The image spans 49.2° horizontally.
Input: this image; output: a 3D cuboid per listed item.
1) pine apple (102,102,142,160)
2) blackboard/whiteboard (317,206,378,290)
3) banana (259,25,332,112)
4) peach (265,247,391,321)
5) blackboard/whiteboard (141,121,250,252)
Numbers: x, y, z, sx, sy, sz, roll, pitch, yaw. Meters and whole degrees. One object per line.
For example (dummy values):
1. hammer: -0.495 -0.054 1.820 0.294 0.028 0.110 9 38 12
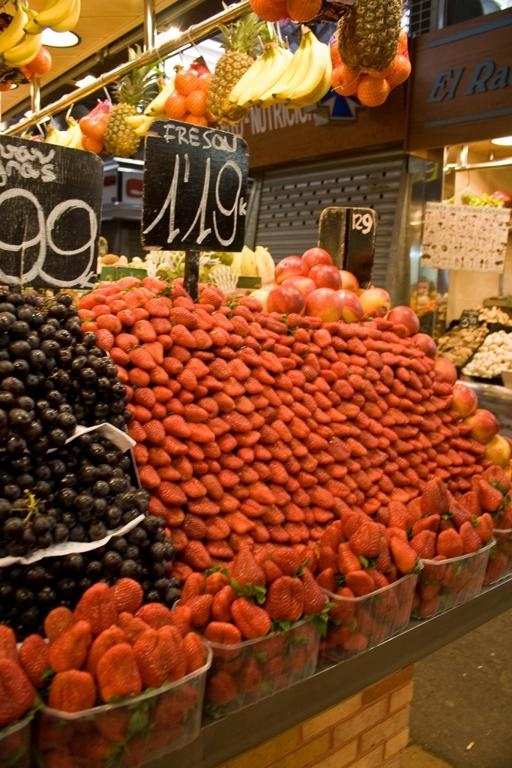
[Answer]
1. pine apple: -0.824 -1.564 3.456 0.213 0.351 0.221 11 17 27
2. blackboard/whiteboard: 0.364 -0.530 2.206 0.208 0.325 0.152 10 20 37
3. banana: 0.184 -1.280 2.337 0.208 0.173 0.487 0 52 18
4. peach: 0.218 -0.304 1.818 0.395 0.280 0.457 8 14 39
5. blackboard/whiteboard: -0.160 -0.526 1.505 0.075 0.333 0.371 14 14 37
